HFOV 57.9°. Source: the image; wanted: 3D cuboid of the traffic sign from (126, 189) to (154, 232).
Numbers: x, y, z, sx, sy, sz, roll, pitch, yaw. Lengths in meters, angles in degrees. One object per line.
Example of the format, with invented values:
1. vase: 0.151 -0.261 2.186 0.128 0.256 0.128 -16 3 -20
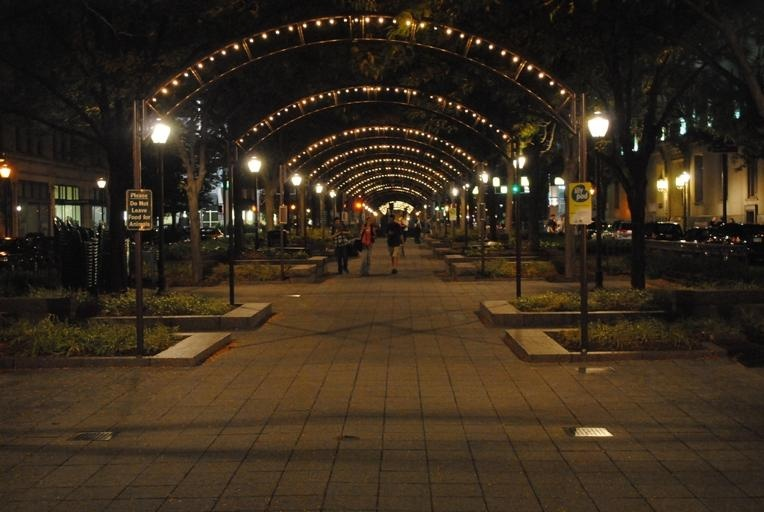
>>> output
1. traffic sign: -4.774 -0.881 13.447 0.474 0.822 0.553 -3 6 -23
